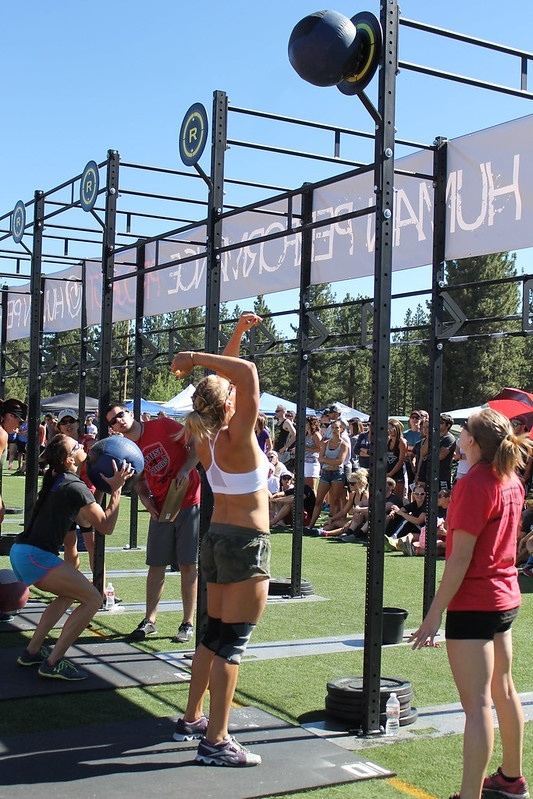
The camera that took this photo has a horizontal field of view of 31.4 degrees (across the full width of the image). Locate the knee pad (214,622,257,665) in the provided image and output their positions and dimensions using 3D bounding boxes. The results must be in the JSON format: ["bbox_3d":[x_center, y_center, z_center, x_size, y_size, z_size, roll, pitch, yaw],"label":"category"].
[{"bbox_3d":[-0.164,1.069,4.165,0.182,0.181,0.163,1,-2,24],"label":"knee pad"}]

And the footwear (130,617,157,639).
[{"bbox_3d":[-0.889,1.680,6.877,0.079,0.098,0.219,0,-4,24],"label":"footwear"}]

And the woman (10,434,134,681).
[{"bbox_3d":[-1.183,0.948,5.763,0.725,1.425,0.571,2,-2,-20],"label":"woman"}]

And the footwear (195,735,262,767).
[{"bbox_3d":[-0.182,1.602,4.327,0.318,0.154,0.119,4,-6,-3],"label":"footwear"}]

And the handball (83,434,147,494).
[{"bbox_3d":[-0.891,0.409,5.678,0.326,0.397,0.327,7,-10,-13],"label":"handball"}]

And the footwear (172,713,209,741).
[{"bbox_3d":[-0.346,1.591,4.642,0.096,0.105,0.234,-2,-2,40],"label":"footwear"}]

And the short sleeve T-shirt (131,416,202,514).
[{"bbox_3d":[-0.679,0.461,6.489,0.579,0.730,0.300,-15,-12,26],"label":"short sleeve T-shirt"}]

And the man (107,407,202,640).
[{"bbox_3d":[-0.800,0.846,6.812,0.637,1.768,0.727,-1,-7,-19],"label":"man"}]

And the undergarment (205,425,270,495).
[{"bbox_3d":[-0.124,0.276,4.309,0.255,0.279,0.244,3,5,40],"label":"undergarment"}]

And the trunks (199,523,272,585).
[{"bbox_3d":[-0.156,0.708,4.300,0.356,0.279,0.255,-2,-4,41],"label":"trunks"}]

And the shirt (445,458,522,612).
[{"bbox_3d":[0.877,0.555,3.768,0.352,0.585,0.264,2,-2,-5],"label":"shirt"}]

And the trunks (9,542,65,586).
[{"bbox_3d":[-1.334,0.956,5.573,0.225,0.229,0.324,-14,9,-38],"label":"trunks"}]

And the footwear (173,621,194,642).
[{"bbox_3d":[-0.596,1.687,6.806,0.071,0.087,0.190,1,-7,14],"label":"footwear"}]

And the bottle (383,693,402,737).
[{"bbox_3d":[0.639,1.591,4.819,0.075,0.198,0.191,2,-2,8],"label":"bottle"}]

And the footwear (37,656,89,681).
[{"bbox_3d":[-1.213,1.616,5.671,0.280,0.144,0.122,5,-6,-9],"label":"footwear"}]

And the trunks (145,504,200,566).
[{"bbox_3d":[-0.687,0.963,6.938,0.350,0.499,0.271,3,17,-2],"label":"trunks"}]

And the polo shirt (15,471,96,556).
[{"bbox_3d":[-1.280,0.666,5.712,0.322,0.483,0.461,17,2,-33],"label":"polo shirt"}]

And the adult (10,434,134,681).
[{"bbox_3d":[-1.190,0.943,5.782,0.705,1.428,0.652,2,-2,4],"label":"adult"}]
